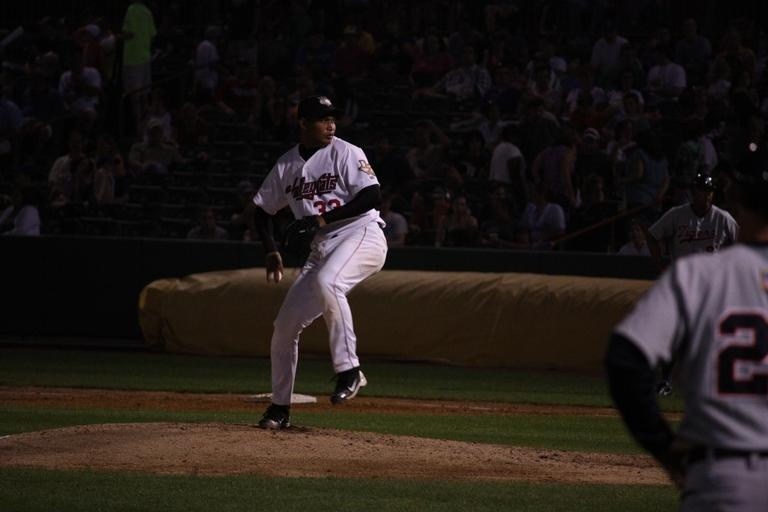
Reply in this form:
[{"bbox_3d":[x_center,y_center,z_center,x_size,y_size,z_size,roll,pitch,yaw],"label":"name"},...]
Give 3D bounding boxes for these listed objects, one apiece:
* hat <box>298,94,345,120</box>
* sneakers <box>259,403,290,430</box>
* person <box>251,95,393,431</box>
[{"bbox_3d":[-0.645,-1.382,10.326,0.312,0.145,0.230,-6,0,34],"label":"hat"},{"bbox_3d":[-0.980,1.425,10.088,0.324,0.204,0.169,4,-2,-8],"label":"sneakers"},{"bbox_3d":[-0.578,0.049,10.219,1.174,2.965,1.039,1,10,-2],"label":"person"}]
